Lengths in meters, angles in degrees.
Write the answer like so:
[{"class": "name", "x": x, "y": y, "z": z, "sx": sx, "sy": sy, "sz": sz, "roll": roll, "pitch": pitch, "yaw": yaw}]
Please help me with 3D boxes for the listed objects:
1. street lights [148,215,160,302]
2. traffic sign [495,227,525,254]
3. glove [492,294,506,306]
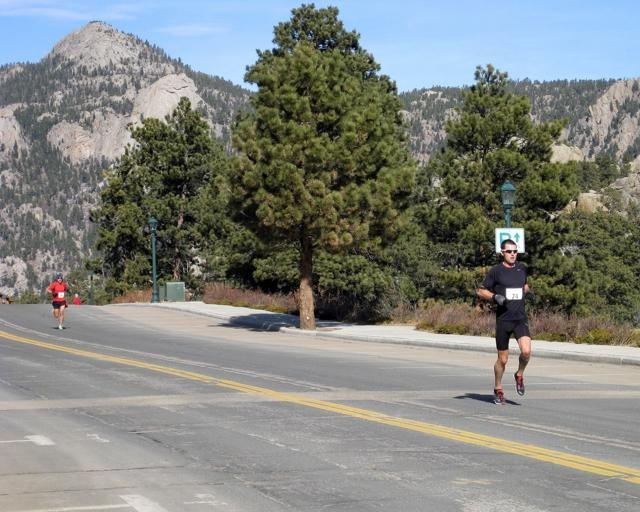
[{"class": "street lights", "x": -7.409, "y": 0.193, "z": 48.127, "sx": 0.623, "sy": 3.874, "sz": 0.580, "roll": 1, "pitch": -7, "yaw": -34}, {"class": "traffic sign", "x": 4.336, "y": -0.374, "z": 24.235, "sx": 0.674, "sy": 0.636, "sz": 0.097, "roll": 2, "pitch": 5, "yaw": 12}, {"class": "glove", "x": 3.010, "y": 0.735, "z": 17.719, "sx": 0.176, "sy": 0.189, "sz": 0.289, "roll": 0, "pitch": -2, "yaw": 20}]
